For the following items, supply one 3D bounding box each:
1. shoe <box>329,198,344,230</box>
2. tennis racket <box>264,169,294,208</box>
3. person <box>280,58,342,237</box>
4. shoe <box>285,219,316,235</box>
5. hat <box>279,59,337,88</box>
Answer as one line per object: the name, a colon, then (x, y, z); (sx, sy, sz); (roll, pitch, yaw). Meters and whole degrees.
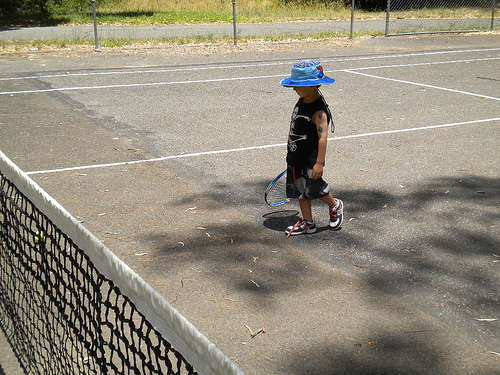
shoe: (0.978, 0.292, 6.560); (0.169, 0.297, 0.317); (1, 23, 9)
tennis racket: (0.333, 0.007, 7.115); (0.117, 0.405, 0.693); (28, 15, 28)
person: (0.669, -0.397, 6.194); (0.645, 1.871, 0.611); (-1, 25, 6)
shoe: (0.511, 0.441, 6.320); (0.410, 0.130, 0.131); (0, 3, -13)
hat: (0.575, -1.170, 6.004); (0.449, 0.138, 0.397); (-1, 17, 19)
